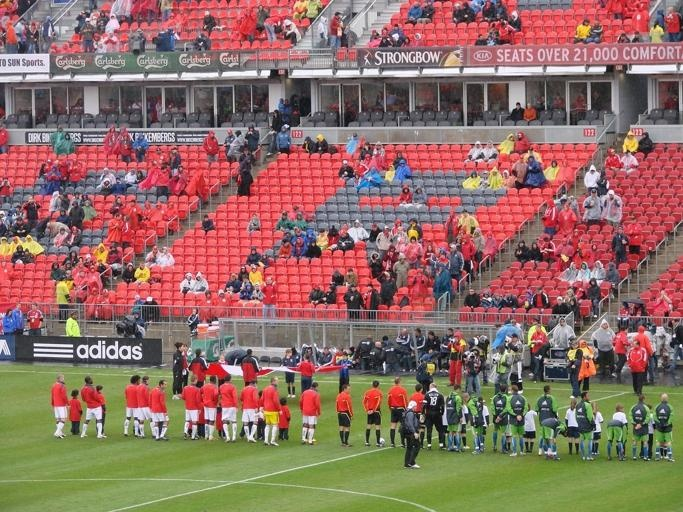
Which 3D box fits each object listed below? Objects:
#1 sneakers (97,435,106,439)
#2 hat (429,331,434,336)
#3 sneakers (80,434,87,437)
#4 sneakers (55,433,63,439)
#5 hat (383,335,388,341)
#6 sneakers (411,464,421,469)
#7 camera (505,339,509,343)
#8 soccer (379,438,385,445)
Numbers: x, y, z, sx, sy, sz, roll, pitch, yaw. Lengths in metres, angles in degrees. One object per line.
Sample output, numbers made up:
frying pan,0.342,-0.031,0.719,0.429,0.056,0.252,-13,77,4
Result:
sneakers,-8.291,6.251,64.865,0.323,0.116,0.269,-1,-2,-18
hat,3.499,2.876,69.907,0.161,0.179,0.132,-18,6,-25
sneakers,-8.962,6.229,65.136,0.187,0.154,0.345,-2,-2,-8
sneakers,-9.858,6.240,65.027,0.373,0.168,0.116,-3,8,-22
hat,1.791,3.122,71.583,0.146,0.156,0.190,-2,12,1
sneakers,2.560,6.840,60.949,0.224,0.131,0.360,-3,-2,34
camera,6.141,3.067,67.500,0.148,0.189,0.187,-2,-1,5
soccer,1.480,6.296,63.238,0.158,0.174,0.205,-8,-3,-6
